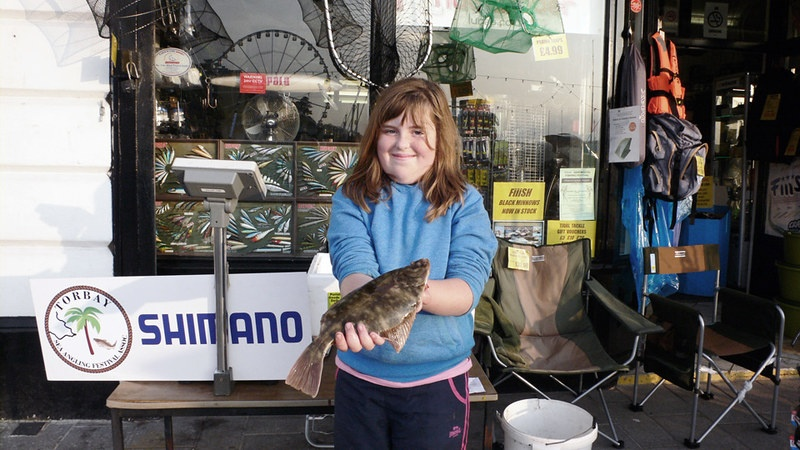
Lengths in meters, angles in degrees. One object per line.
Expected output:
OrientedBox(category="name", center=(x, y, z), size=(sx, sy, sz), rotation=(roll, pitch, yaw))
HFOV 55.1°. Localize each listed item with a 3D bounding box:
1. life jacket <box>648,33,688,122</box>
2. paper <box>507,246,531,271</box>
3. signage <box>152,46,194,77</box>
OrientedBox(category="life jacket", center=(3.093, -1.711, 8.872), size=(0.606, 0.907, 0.272), rotation=(-6, 6, -31))
OrientedBox(category="paper", center=(1.317, 0.373, 8.620), size=(0.290, 0.252, 0.100), rotation=(2, -6, -20))
OrientedBox(category="signage", center=(-2.541, -1.807, 8.455), size=(0.421, 0.408, 0.056), rotation=(-2, 4, -13))
